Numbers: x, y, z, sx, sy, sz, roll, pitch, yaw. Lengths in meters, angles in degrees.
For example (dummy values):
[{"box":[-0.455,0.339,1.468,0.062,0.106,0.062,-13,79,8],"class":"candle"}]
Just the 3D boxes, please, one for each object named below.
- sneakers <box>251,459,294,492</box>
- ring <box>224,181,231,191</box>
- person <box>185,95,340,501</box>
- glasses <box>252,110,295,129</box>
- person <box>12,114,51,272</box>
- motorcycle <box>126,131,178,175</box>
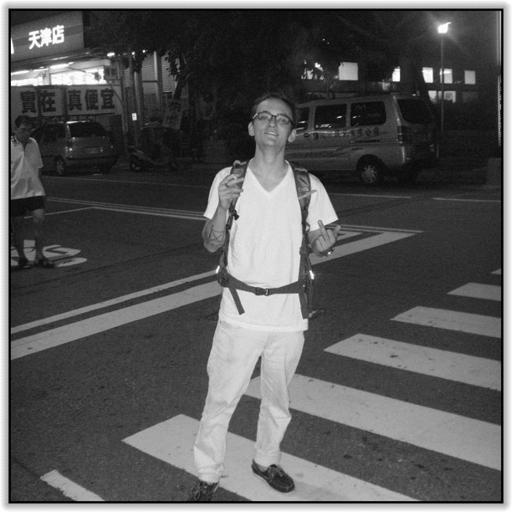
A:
[{"box":[0.089,1.028,2.173,0.080,0.097,0.192,-8,11,-42],"class":"sneakers"},{"box":[-0.113,-0.282,1.813,0.020,0.039,0.008,-3,-10,-1],"class":"ring"},{"box":[0.020,0.185,2.057,0.703,1.809,0.324,-3,7,-19],"class":"person"},{"box":[0.075,-0.598,1.977,0.182,0.075,0.114,-1,9,3],"class":"glasses"},{"box":[-3.636,-1.007,7.251,0.562,2.411,0.771,-5,8,-32],"class":"person"},{"box":[-5.360,-5.564,23.516,2.432,2.267,1.288,-8,23,-20],"class":"motorcycle"}]
